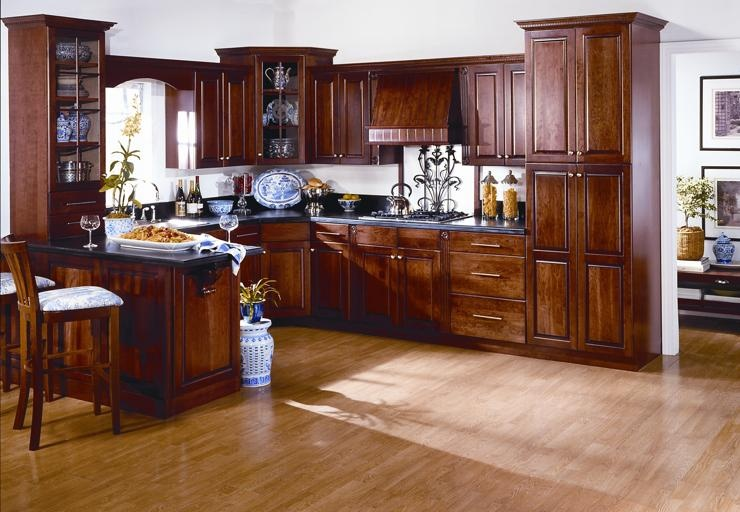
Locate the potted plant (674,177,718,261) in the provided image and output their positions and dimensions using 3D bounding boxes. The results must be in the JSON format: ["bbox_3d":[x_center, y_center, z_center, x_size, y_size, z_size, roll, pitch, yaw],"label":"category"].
[{"bbox_3d":[3.992,-0.472,6.789,0.448,0.996,0.553,5,11,30],"label":"potted plant"}]

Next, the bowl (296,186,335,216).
[{"bbox_3d":[-0.679,-0.689,6.744,0.398,0.330,0.418,0,5,0],"label":"bowl"}]

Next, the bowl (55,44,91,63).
[{"bbox_3d":[-2.604,-1.796,4.873,0.085,0.176,0.286,5,11,30],"label":"bowl"}]

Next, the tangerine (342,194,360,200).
[{"bbox_3d":[-0.216,-0.707,6.655,0.154,0.062,0.086,3,2,-1],"label":"tangerine"}]

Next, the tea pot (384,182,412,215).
[{"bbox_3d":[0.358,-0.646,6.230,0.338,0.314,0.256,-9,24,-4],"label":"tea pot"}]

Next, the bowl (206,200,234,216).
[{"bbox_3d":[-1.715,-0.564,6.352,0.324,0.155,0.304,-1,6,0],"label":"bowl"}]

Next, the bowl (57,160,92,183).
[{"bbox_3d":[-2.645,-0.734,4.943,0.217,0.151,0.234,-1,2,0],"label":"bowl"}]

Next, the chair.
[{"bbox_3d":[-2.211,0.530,4.019,0.760,1.370,1.013,-4,10,-24],"label":"chair"}]

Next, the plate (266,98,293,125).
[{"bbox_3d":[-1.053,-1.689,6.515,0.346,0.303,0.086,-9,10,-13],"label":"plate"}]

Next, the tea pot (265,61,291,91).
[{"bbox_3d":[-1.084,-2.098,6.427,0.344,0.354,0.181,-1,16,-9],"label":"tea pot"}]

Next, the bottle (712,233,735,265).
[{"bbox_3d":[4.358,-0.090,6.733,0.305,0.344,0.208,-5,11,-30],"label":"bottle"}]

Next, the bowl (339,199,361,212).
[{"bbox_3d":[-0.254,-0.597,6.683,0.195,0.095,0.191,0,3,0],"label":"bowl"}]

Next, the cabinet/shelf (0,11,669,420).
[{"bbox_3d":[-0.238,-0.349,5.189,4.293,2.465,3.273,2,5,28],"label":"cabinet/shelf"}]

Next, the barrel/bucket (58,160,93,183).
[{"bbox_3d":[-2.640,-0.749,4.950,0.217,0.140,0.230,-2,1,0],"label":"barrel/bucket"}]

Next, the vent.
[{"bbox_3d":[0.346,-1.632,6.034,0.966,0.734,0.329,-8,28,-22],"label":"vent"}]

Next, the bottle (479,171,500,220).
[{"bbox_3d":[1.314,-0.671,5.940,0.236,0.447,0.230,0,5,0],"label":"bottle"}]

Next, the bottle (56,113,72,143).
[{"bbox_3d":[-2.692,-1.129,4.845,0.083,0.266,0.120,1,9,7],"label":"bottle"}]
